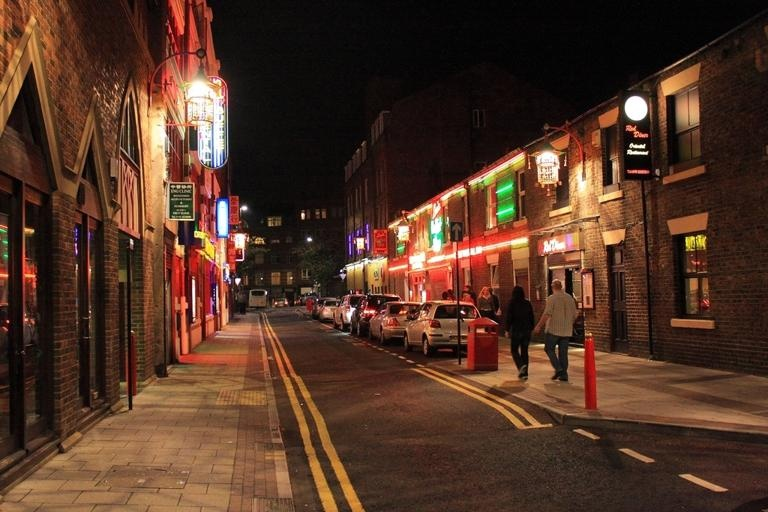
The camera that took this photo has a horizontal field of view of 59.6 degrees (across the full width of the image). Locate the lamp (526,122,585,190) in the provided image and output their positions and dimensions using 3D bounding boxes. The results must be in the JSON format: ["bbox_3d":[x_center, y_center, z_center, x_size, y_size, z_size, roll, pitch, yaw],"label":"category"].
[{"bbox_3d":[5.933,-3.395,22.874,1.737,2.332,1.073,-4,-23,20],"label":"lamp"}]

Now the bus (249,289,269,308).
[{"bbox_3d":[-17.853,6.181,95.886,2.571,2.187,4.747,0,-5,-8],"label":"bus"}]

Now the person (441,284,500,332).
[{"bbox_3d":[3.612,1.964,25.765,1.318,1.155,2.303,0,0,-6],"label":"person"}]

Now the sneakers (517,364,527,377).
[{"bbox_3d":[3.354,2.775,16.203,0.192,0.213,0.538,1,-19,6],"label":"sneakers"}]
